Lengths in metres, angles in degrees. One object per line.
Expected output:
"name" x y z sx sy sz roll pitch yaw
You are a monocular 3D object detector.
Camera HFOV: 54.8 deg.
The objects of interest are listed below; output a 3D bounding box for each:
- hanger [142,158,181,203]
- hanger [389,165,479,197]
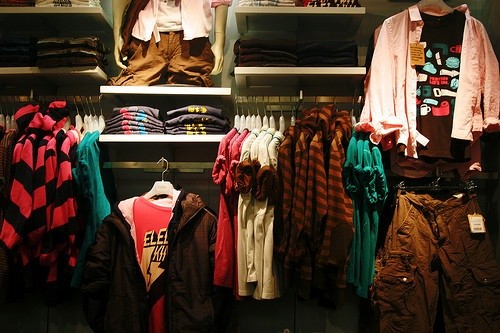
"hanger" -0.748 0.125 4.083 0.325 0.396 0.030 1 -4 2
"hanger" 1.539 0.136 4.088 0.766 0.250 0.430 2 4 11
